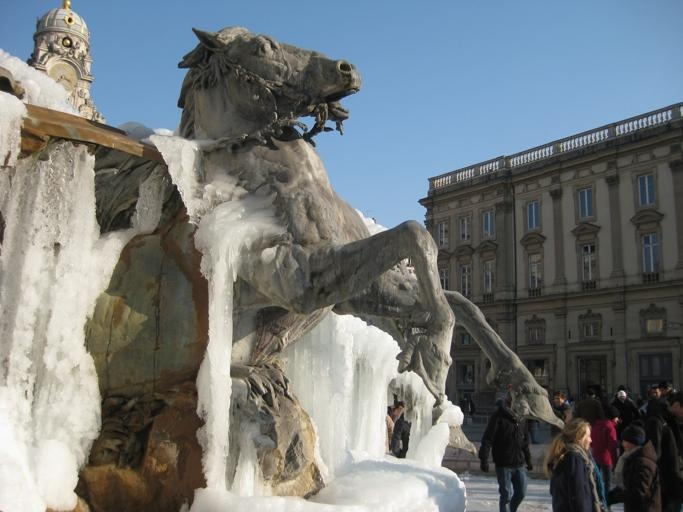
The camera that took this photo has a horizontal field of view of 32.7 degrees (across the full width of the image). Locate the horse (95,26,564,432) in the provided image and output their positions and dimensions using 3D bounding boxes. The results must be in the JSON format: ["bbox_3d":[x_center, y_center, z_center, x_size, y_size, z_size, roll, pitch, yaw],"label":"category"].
[{"bbox_3d":[-0.761,-0.499,12.780,5.754,4.407,1.875,-2,-5,24],"label":"horse"}]

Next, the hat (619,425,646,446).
[{"bbox_3d":[3.061,1.876,12.247,0.202,0.175,0.206,14,-2,14],"label":"hat"}]

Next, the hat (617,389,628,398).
[{"bbox_3d":[4.377,2.164,18.245,0.145,0.166,0.200,6,6,17],"label":"hat"}]
